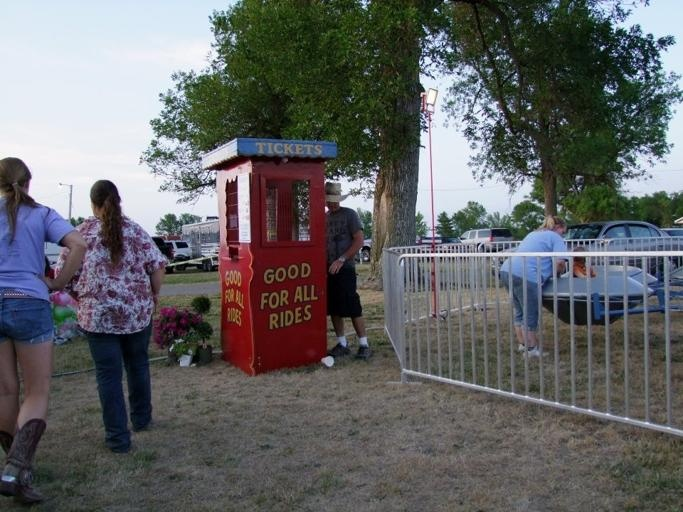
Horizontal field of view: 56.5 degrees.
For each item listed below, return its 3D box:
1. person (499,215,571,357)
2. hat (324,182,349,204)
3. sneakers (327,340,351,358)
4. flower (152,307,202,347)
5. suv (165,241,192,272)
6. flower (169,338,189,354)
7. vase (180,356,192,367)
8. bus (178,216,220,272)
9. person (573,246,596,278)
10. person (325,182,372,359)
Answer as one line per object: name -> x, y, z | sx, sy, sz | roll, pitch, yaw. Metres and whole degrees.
person -> 2.118, 0.298, 6.808 | 0.795, 1.533, 0.603 | 1, 3, -26
hat -> -0.073, -0.810, 8.159 | 0.272, 0.270, 0.220 | -2, 8, -2
sneakers -> -0.050, 1.250, 8.393 | 0.113, 0.152, 0.329 | -6, -13, 31
flower -> -2.293, 0.917, 8.489 | 0.488, 0.521, 0.497 | -19, -19, -6
suv -> -8.658, -0.004, 33.328 | 1.336, 1.485, 2.473 | -2, 8, -30
flower -> -2.141, 1.178, 8.304 | 0.157, 0.143, 0.184 | -9, 15, 18
vase -> -2.038, 1.370, 8.262 | 0.129, 0.143, 0.132 | 1, -7, -5
bus -> -9.347, -0.594, 43.097 | 5.235, 3.094, 1.746 | -1, 1, 39
person -> 2.374, 0.061, 6.163 | 0.199, 0.338, 1.007 | 1, 9, 21
person -> 0.068, 0.185, 8.282 | 0.556, 2.299, 0.758 | -2, 7, 0
